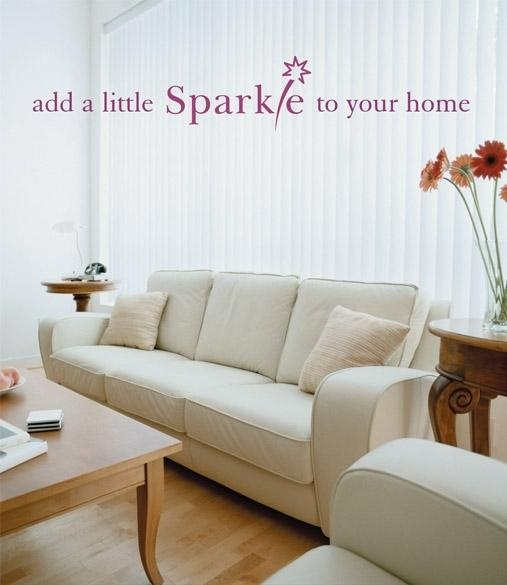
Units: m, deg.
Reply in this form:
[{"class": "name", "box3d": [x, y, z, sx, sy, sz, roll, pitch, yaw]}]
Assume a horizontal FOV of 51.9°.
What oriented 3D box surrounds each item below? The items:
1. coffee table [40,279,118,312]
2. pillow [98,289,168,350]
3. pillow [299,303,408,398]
[{"class": "coffee table", "box3d": [-1.193, -0.025, 3.514, 0.298, 0.210, 0.298, -4, 7, -43]}, {"class": "pillow", "box3d": [-0.641, 0.143, 2.874, 0.338, 0.315, 0.104, 1, -27, 23]}, {"class": "pillow", "box3d": [0.381, 0.230, 1.884, 0.103, 0.319, 0.333, 35, -15, -24]}]
